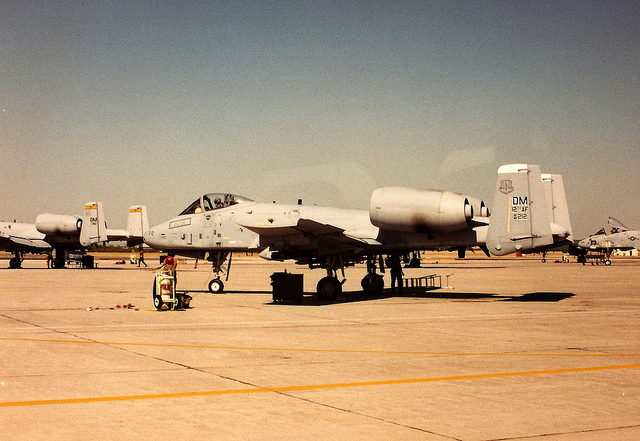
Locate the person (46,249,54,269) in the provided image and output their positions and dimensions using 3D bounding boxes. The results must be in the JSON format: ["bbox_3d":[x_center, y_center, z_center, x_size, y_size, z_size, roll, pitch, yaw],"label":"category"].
[{"bbox_3d":[-23.293,3.236,56.563,0.886,2.063,0.597,0,5,-12],"label":"person"}]

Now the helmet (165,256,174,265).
[{"bbox_3d":[-4.647,1.200,20.341,0.212,0.256,0.430,1,-4,-4],"label":"helmet"}]

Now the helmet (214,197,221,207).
[{"bbox_3d":[-4.158,-0.833,26.708,0.271,0.372,0.118,1,-5,3],"label":"helmet"}]

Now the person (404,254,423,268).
[{"bbox_3d":[7.265,3.154,50.442,1.678,1.444,0.675,2,-3,11],"label":"person"}]
